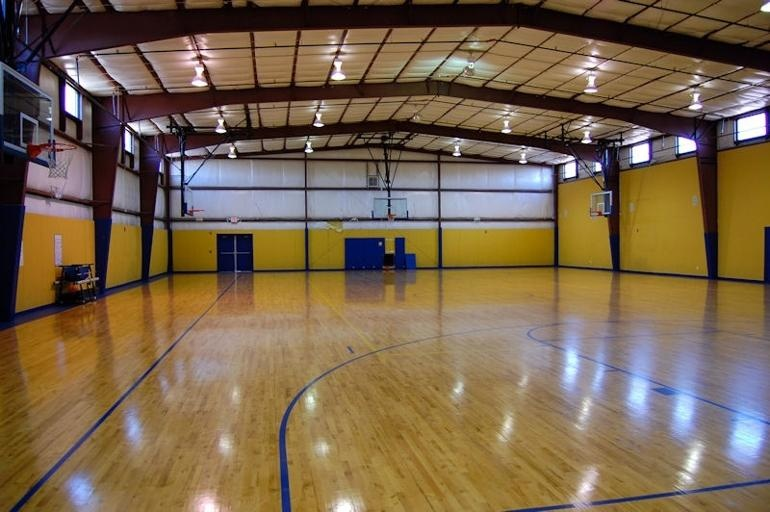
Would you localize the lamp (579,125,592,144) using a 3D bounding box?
[{"bbox_3d":[9.386,-5.720,24.876,0.569,1.058,0.562,-3,5,-40],"label":"lamp"}]

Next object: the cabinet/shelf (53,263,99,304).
[{"bbox_3d":[-9.669,0.885,17.011,0.674,0.936,0.883,-12,6,11],"label":"cabinet/shelf"}]
